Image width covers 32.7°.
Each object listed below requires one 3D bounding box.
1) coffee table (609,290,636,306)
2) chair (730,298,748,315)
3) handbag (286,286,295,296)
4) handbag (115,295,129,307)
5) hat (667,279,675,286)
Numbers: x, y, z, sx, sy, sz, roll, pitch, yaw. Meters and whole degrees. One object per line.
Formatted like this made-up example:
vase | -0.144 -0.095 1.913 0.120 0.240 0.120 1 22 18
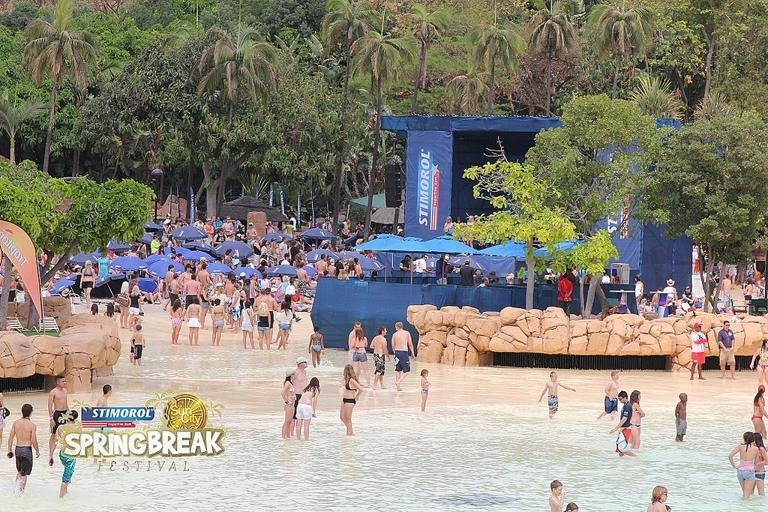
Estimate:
coffee table | 9.852 1.706 54.570 0.727 0.557 0.780 -1 -2 -4
chair | 15.846 2.309 58.632 0.468 0.641 0.486 0 2 21
handbag | -4.026 1.498 56.190 0.478 0.413 0.697 0 -6 -16
handbag | -10.863 1.878 54.335 0.363 0.363 0.498 12 -2 23
hat | 12.490 1.180 57.275 0.330 0.137 0.381 -3 36 3
